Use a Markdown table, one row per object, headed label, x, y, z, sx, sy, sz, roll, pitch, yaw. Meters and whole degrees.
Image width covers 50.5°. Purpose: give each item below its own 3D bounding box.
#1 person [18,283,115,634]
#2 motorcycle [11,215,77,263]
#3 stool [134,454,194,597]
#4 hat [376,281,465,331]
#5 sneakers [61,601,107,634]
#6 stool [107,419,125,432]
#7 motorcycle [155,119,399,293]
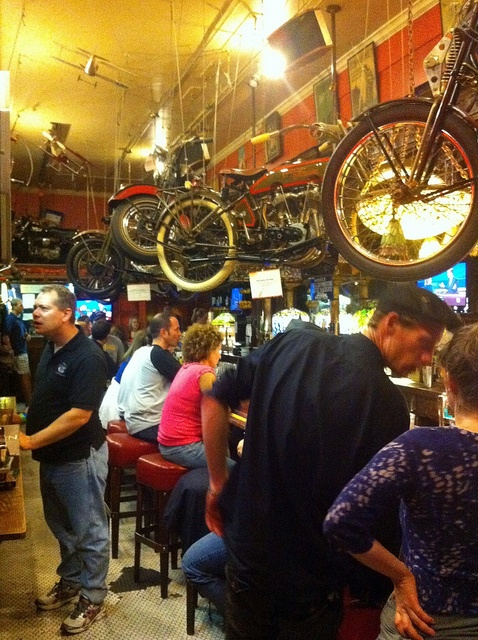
| label | x | y | z | sx | sy | sz | roll | pitch | yaw |
| --- | --- | --- | --- | --- | --- | --- | --- | --- | --- |
| person | -0.900 | 0.706 | 2.702 | 0.428 | 1.786 | 0.544 | 1 | -1 | -23 |
| motorcycle | -3.491 | -1.405 | 9.103 | 1.347 | 0.834 | 0.847 | 9 | 0 | -12 |
| stool | -0.420 | 1.213 | 3.101 | 0.453 | 0.698 | 0.458 | 3 | -9 | -20 |
| hat | 0.501 | -0.022 | 1.379 | 0.152 | 0.067 | 0.183 | 4 | -27 | 24 |
| sneakers | -0.802 | 1.538 | 2.664 | 0.083 | 0.149 | 0.241 | -6 | -12 | 32 |
| stool | -0.991 | 0.857 | 4.101 | 0.104 | 0.090 | 0.102 | -1 | 4 | -25 |
| motorcycle | 0.017 | -0.787 | 4.537 | 2.383 | 1.248 | 0.889 | -8 | -5 | 30 |
